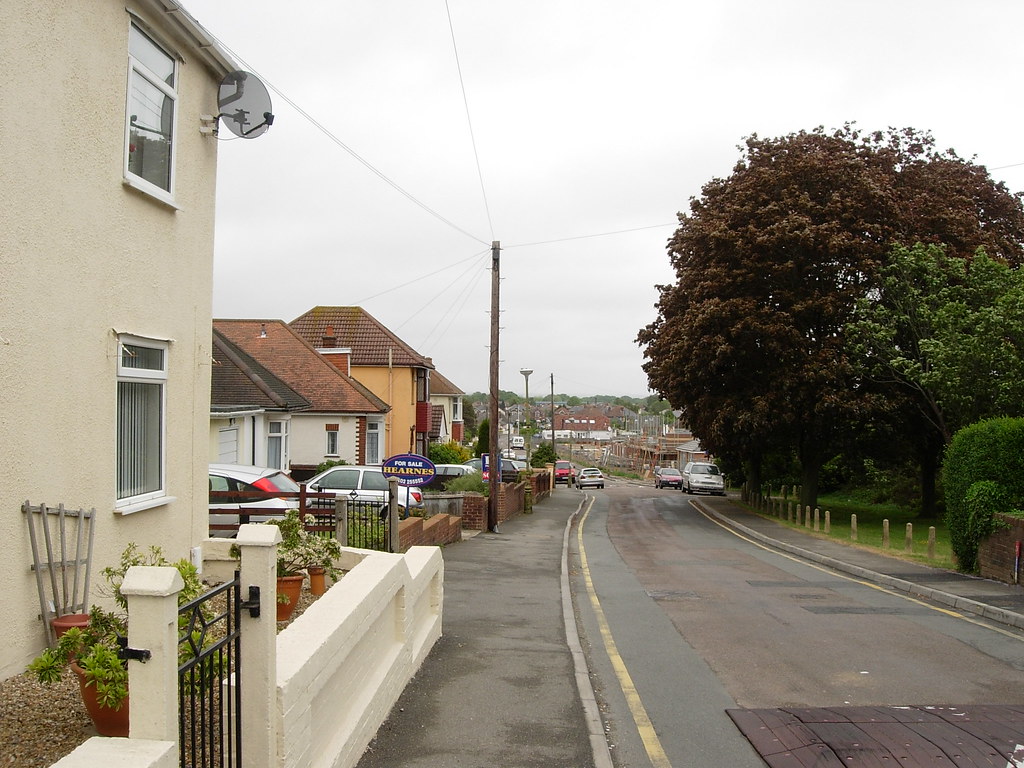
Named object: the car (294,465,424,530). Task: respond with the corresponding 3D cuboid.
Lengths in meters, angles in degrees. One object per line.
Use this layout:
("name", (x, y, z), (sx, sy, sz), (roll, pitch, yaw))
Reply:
("car", (-3.596, 2.751, 23.894), (2.600, 1.048, 1.359), (5, -4, 4))

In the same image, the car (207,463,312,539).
("car", (-4.977, 2.116, 18.899), (2.621, 1.338, 1.643), (1, -4, 3))

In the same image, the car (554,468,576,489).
("car", (3.590, 6.446, 69.391), (1.149, 1.256, 2.650), (-3, -8, 6))
